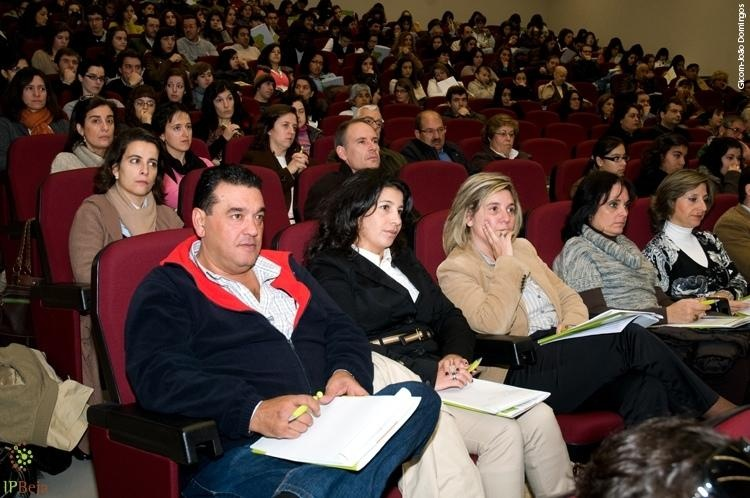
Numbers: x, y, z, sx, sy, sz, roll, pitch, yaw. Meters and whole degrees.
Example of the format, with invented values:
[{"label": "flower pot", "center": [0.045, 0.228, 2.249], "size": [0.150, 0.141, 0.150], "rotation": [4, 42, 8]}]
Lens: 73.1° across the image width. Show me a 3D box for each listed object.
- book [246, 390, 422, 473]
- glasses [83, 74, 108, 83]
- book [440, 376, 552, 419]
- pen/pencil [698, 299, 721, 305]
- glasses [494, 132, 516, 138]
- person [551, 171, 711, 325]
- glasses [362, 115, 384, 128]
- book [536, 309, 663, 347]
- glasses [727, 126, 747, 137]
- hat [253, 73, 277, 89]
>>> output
[{"label": "book", "center": [-0.124, 0.528, 1.497], "size": [0.297, 0.072, 0.292], "rotation": [4, 17, 31]}, {"label": "glasses", "center": [-2.784, -1.733, 5.066], "size": [0.116, 0.085, 0.222], "rotation": [6, 8, 26]}, {"label": "book", "center": [0.428, 0.548, 1.877], "size": [0.208, 0.038, 0.198], "rotation": [6, 9, 34]}, {"label": "pen/pencil", "center": [1.817, 0.282, 2.775], "size": [0.093, 0.022, 0.022], "rotation": [8, -28, -31]}, {"label": "glasses", "center": [1.275, -1.129, 4.939], "size": [0.235, 0.066, 0.088], "rotation": [-2, 9, -30]}, {"label": "person", "center": [1.436, 0.027, 2.916], "size": [0.623, 0.882, 0.837], "rotation": [0, 4, -30]}, {"label": "glasses", "center": [-0.031, -1.157, 4.512], "size": [0.233, 0.078, 0.241], "rotation": [-2, 13, -44]}, {"label": "book", "center": [0.961, 0.346, 2.185], "size": [0.490, 0.195, 0.137], "rotation": [2, 8, -2]}, {"label": "glasses", "center": [4.269, -1.404, 6.039], "size": [0.223, 0.074, 0.225], "rotation": [3, -1, -28]}, {"label": "hat", "center": [-1.399, -2.152, 6.341], "size": [0.226, 0.209, 0.326], "rotation": [-2, 8, -27]}]
